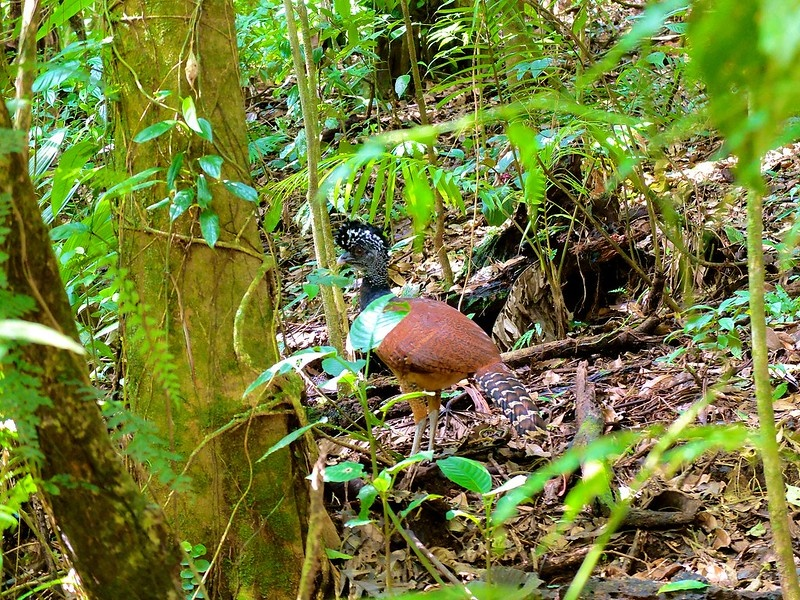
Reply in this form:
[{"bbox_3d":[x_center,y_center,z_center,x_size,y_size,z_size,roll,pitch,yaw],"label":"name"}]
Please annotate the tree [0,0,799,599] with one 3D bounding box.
[{"bbox_3d":[0.080,0.049,3.521,2.918,0.723,3.044,-11,22,19],"label":"tree"}]
